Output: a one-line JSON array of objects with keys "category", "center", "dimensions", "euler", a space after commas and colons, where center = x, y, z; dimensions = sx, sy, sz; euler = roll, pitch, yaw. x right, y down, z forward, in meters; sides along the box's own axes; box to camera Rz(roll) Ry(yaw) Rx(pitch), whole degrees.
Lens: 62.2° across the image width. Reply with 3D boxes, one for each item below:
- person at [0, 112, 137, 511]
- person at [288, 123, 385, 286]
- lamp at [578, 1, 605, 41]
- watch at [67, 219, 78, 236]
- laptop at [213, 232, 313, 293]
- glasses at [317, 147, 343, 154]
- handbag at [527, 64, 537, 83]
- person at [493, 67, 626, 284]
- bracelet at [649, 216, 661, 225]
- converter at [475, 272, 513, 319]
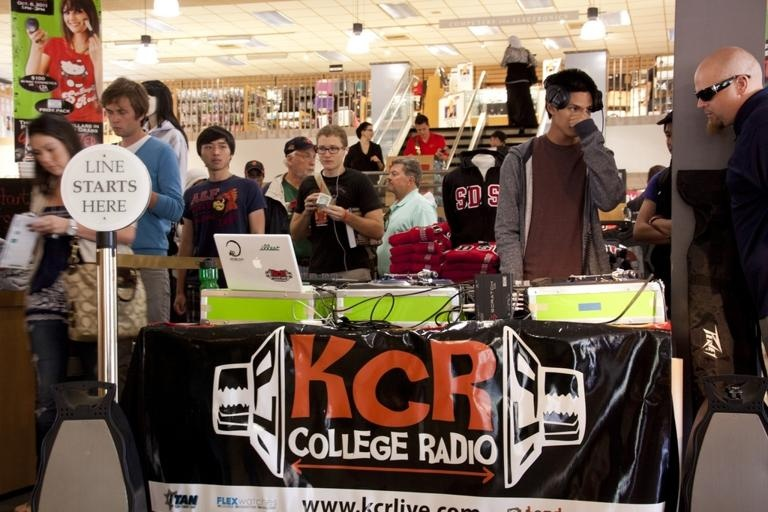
[{"category": "person", "center": [-1.917, 0.355, 3.731], "dimensions": [0.381, 2.369, 0.561], "euler": [-3, 2, -35]}, {"category": "person", "center": [-0.373, -0.411, 4.923], "dimensions": [0.682, 1.177, 0.833], "euler": [-2, 2, -17]}, {"category": "lamp", "center": [3.810, -4.291, 11.709], "dimensions": [0.341, 0.682, 0.620], "euler": [-1, 3, 15]}, {"category": "watch", "center": [-1.799, -0.165, 3.656], "dimensions": [0.051, 0.095, 0.053], "euler": [-2, 2, -27]}, {"category": "laptop", "center": [-0.672, 0.040, 3.416], "dimensions": [0.370, 0.244, 0.344], "euler": [-1, -8, 22]}, {"category": "glasses", "center": [-0.416, -0.806, 4.875], "dimensions": [0.202, 0.061, 0.120], "euler": [-1, 3, -1]}, {"category": "handbag", "center": [2.730, -3.334, 11.680], "dimensions": [0.110, 0.328, 0.234], "euler": [1, 2, 5]}, {"category": "person", "center": [1.007, -0.461, 3.688], "dimensions": [0.740, 1.184, 0.345], "euler": [-1, 2, 11]}, {"category": "bracelet", "center": [1.882, -0.253, 4.448], "dimensions": [0.065, 0.051, 0.133], "euler": [0, 3, 24]}, {"category": "converter", "center": [0.559, 0.210, 3.278], "dimensions": [0.193, 0.230, 0.067], "euler": [-1, 2, 8]}]
